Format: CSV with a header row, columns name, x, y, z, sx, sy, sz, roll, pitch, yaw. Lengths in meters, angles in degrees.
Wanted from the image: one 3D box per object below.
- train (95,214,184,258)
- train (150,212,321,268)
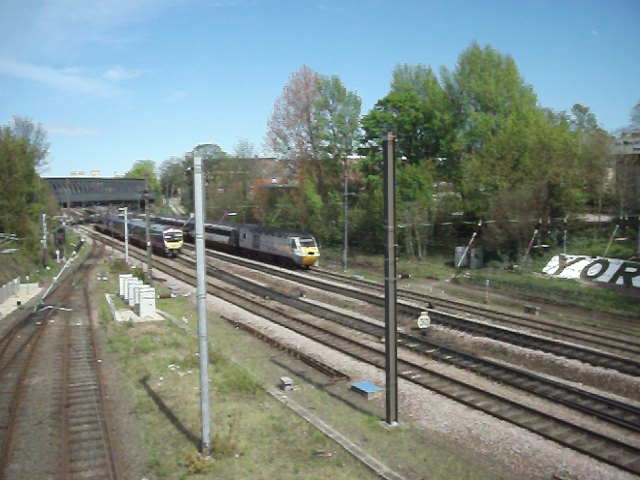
name,x,y,z,sx,sy,sz,roll,pitch,yaw
train,-21.013,-0.919,63.470,16.858,2.348,2.122,12,1,40
train,-7.771,0.209,53.772,2.676,3.819,34.738,-6,8,-34
